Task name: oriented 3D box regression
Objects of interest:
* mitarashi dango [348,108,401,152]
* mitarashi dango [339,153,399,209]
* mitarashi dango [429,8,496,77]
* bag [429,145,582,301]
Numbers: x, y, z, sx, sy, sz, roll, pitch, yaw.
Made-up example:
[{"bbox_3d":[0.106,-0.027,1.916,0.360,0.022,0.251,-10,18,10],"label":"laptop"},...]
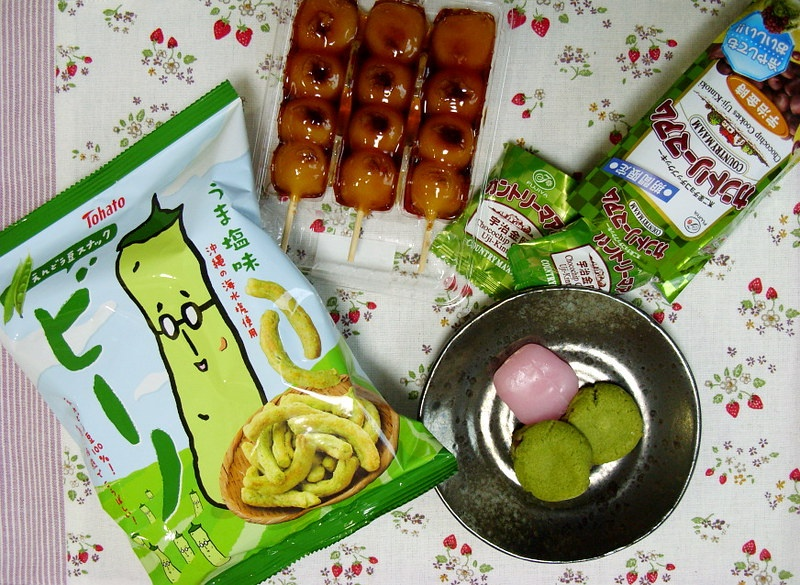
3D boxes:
[{"bbox_3d":[-0.071,-0.374,1.617,0.113,0.055,0.113,14,32,15],"label":"mitarashi dango"},{"bbox_3d":[-0.072,-0.252,1.639,0.104,0.074,0.137,2,89,0],"label":"mitarashi dango"},{"bbox_3d":[0.137,-0.566,1.608,0.142,0.075,0.146,9,76,1],"label":"mitarashi dango"},{"bbox_3d":[0.263,-0.175,1.760,0.269,0.331,0.332,29,47,-7],"label":"bag"}]
